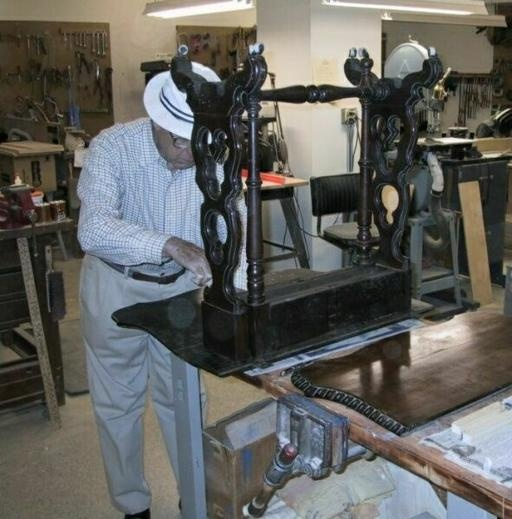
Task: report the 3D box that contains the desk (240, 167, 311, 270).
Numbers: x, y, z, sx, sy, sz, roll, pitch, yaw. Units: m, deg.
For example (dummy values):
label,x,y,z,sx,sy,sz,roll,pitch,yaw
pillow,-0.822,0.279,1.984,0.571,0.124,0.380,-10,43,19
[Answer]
label,x,y,z,sx,sy,sz,roll,pitch,yaw
desk,0.122,-0.229,4.359,0.612,0.840,0.657,-3,1,15

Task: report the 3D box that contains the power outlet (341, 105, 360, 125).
label,x,y,z,sx,sy,sz,roll,pitch,yaw
power outlet,0.805,-1.185,4.484,0.204,0.221,0.105,-20,19,-40

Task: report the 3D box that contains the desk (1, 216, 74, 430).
label,x,y,z,sx,sy,sz,roll,pitch,yaw
desk,-1.098,0.324,2.717,0.330,1.065,0.293,-4,13,-22

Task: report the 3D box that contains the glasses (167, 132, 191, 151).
label,x,y,z,sx,sy,sz,roll,pitch,yaw
glasses,-0.229,-0.350,1.587,0.074,0.025,0.078,20,12,-20

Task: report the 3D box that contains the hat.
label,x,y,z,sx,sy,sz,roll,pitch,yaw
hat,-0.251,-0.438,1.492,0.100,0.190,0.216,-7,16,-33
